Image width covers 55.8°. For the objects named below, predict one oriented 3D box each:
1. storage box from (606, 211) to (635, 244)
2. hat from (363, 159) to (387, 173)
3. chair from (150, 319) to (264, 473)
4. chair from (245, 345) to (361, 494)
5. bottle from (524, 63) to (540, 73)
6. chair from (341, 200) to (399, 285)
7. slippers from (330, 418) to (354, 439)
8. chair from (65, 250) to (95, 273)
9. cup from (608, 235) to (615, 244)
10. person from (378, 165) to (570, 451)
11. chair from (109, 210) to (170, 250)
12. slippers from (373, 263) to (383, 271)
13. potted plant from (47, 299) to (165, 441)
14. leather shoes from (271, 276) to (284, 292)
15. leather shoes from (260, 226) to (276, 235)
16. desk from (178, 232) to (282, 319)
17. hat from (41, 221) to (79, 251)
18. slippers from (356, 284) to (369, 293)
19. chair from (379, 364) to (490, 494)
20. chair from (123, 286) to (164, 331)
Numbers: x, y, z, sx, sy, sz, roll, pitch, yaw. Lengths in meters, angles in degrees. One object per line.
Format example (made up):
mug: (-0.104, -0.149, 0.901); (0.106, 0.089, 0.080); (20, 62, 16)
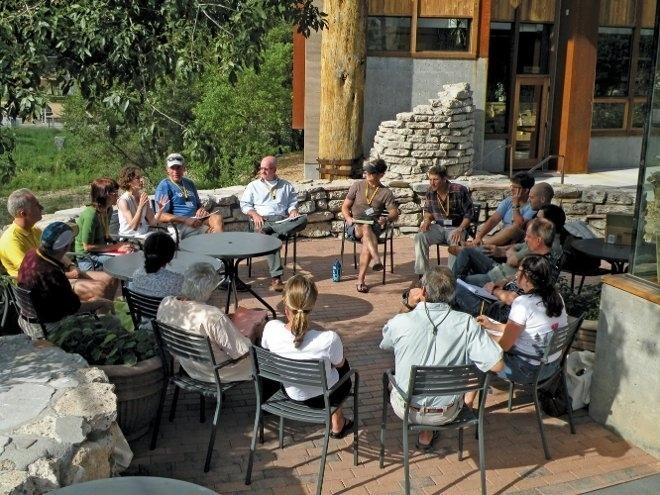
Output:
storage box: (3.176, -0.205, 6.797); (0.304, 0.354, 0.318); (2, 8, 18)
hat: (0.616, -1.097, 8.504); (0.263, 0.099, 0.201); (1, 32, 2)
chair: (-1.072, 1.082, 4.903); (0.838, 1.067, 0.577); (5, 15, 23)
chair: (-0.219, 1.209, 4.752); (0.859, 1.001, 0.947); (0, 14, 6)
bottle: (4.937, -4.371, 15.177); (0.417, 0.186, 0.097); (-3, 14, -6)
chair: (0.509, -0.132, 8.564); (0.592, 0.513, 1.303); (1, 54, -8)
slippers: (0.103, 1.483, 5.155); (0.086, 0.096, 0.280); (1, 19, 26)
chair: (-2.721, 0.149, 6.795); (0.260, 0.176, 0.212); (19, 1, 17)
cup: (3.165, -0.096, 6.985); (0.077, 0.088, 0.081); (-1, 11, 0)
person: (1.345, 0.554, 5.145); (0.909, 2.334, 1.256); (-4, 28, -13)
chair: (-2.215, -0.203, 7.175); (0.410, 0.608, 0.426); (4, 8, 24)
slippers: (0.678, 0.276, 8.828); (0.084, 0.107, 0.252); (-1, -5, 0)
potted plant: (-1.780, 1.014, 5.119); (0.835, 0.694, 0.909); (5, 12, 12)
leather shoes: (-0.678, 0.475, 8.071); (0.103, 0.149, 0.309); (0, -2, -24)
leather shoes: (-0.834, -0.241, 8.322); (0.123, 0.070, 0.182); (8, 0, -13)
desk: (-1.094, 0.459, 7.032); (0.908, 0.808, 1.007); (-2, 15, -9)
hat: (-2.401, -0.102, 5.550); (0.220, 0.183, 0.334); (9, 35, 12)
slippers: (0.433, 0.516, 8.194); (0.152, 0.095, 0.221); (0, 14, 3)
chair: (0.776, 1.282, 4.859); (0.798, 1.351, 0.910); (-1, 10, -3)
chair: (-1.586, 0.514, 5.329); (0.247, 0.358, 0.248); (9, 24, -2)
